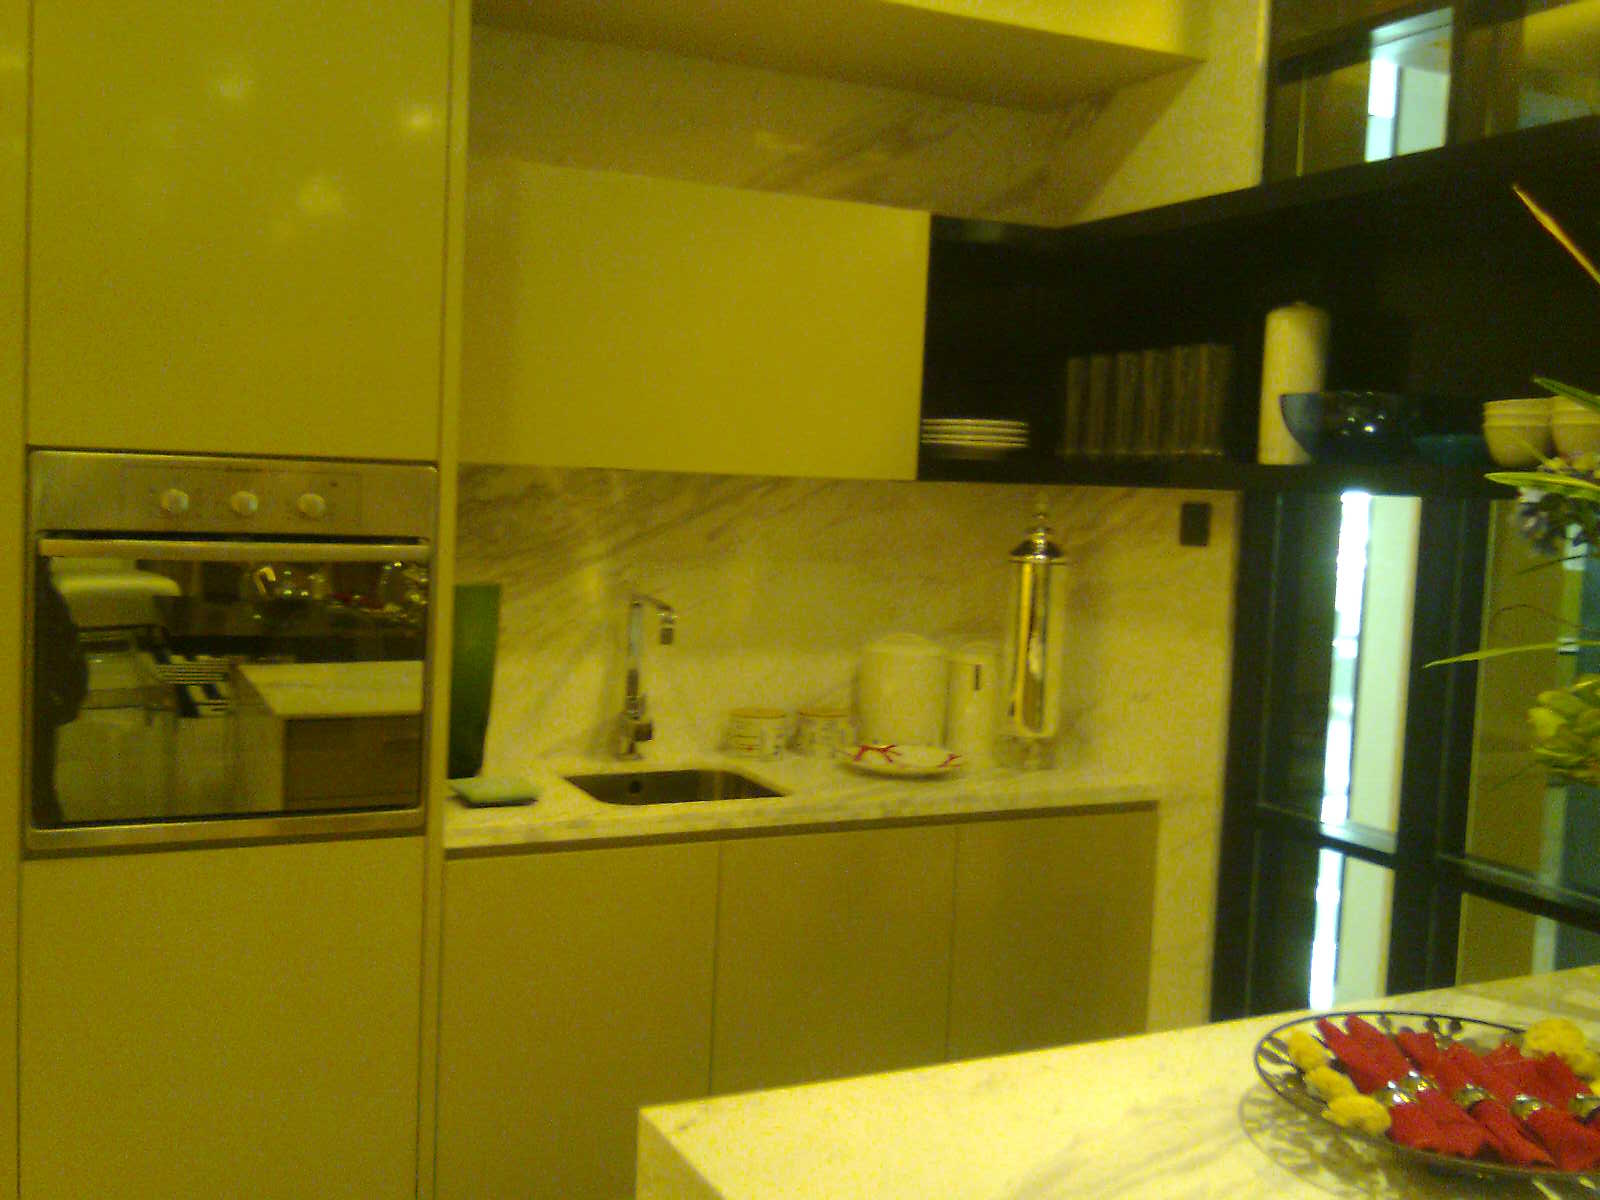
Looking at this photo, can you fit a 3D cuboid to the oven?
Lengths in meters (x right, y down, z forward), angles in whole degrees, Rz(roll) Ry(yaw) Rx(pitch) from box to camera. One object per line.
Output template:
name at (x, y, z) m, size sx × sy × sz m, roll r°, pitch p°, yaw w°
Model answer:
oven at (-1.064, 0.116, 3.135) m, size 0.888 × 0.754 × 0.595 m, roll 0°, pitch -4°, yaw 6°

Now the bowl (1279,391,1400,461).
bowl at (1.090, -0.362, 3.047) m, size 0.115 × 0.155 × 0.235 m, roll 0°, pitch 0°, yaw -26°

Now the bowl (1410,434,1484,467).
bowl at (1.245, -0.287, 2.875) m, size 0.129 × 0.062 × 0.060 m, roll 0°, pitch 0°, yaw 31°

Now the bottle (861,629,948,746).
bottle at (0.278, 0.249, 4.171) m, size 0.281 × 0.411 × 0.276 m, roll 1°, pitch 2°, yaw 0°

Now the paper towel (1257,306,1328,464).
paper towel at (1.137, -0.493, 3.421) m, size 0.155 × 0.374 × 0.154 m, roll -1°, pitch 2°, yaw -43°

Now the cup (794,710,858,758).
cup at (0.065, 0.350, 3.967) m, size 0.135 × 0.089 × 0.130 m, roll 1°, pitch 6°, yaw 0°

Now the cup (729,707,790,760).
cup at (-0.104, 0.347, 3.885) m, size 0.126 × 0.085 × 0.123 m, roll 1°, pitch 4°, yaw 0°
